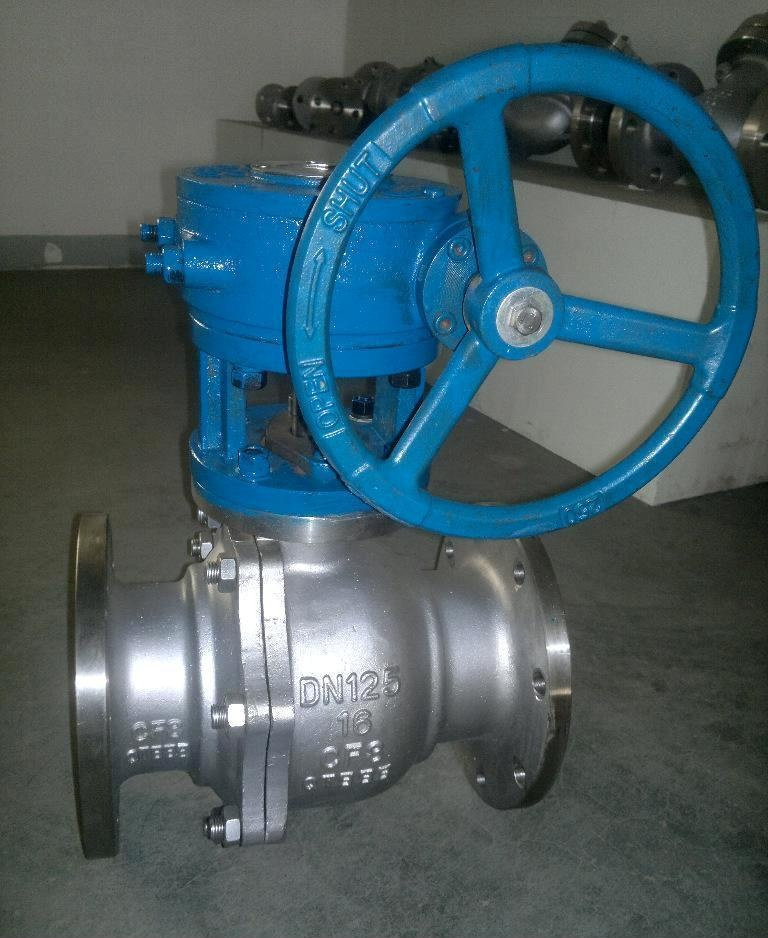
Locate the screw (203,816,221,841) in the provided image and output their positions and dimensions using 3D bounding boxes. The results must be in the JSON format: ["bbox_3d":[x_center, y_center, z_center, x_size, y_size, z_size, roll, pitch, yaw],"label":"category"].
[{"bbox_3d":[-0.189,0.395,1.092,0.025,0.026,0.026,3,54,-8],"label":"screw"}]

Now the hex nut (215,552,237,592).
[{"bbox_3d":[-0.170,0.115,1.071,0.031,0.051,0.054,-1,3,-11],"label":"hex nut"}]

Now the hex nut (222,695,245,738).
[{"bbox_3d":[-0.152,0.251,1.013,0.030,0.035,0.040,4,19,-14],"label":"hex nut"}]

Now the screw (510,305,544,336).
[{"bbox_3d":[0.129,-0.135,0.896,0.028,0.025,0.008,-11,26,-13],"label":"screw"}]

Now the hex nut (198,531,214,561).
[{"bbox_3d":[-0.220,0.095,1.221,0.019,0.032,0.034,1,4,-8],"label":"hex nut"}]
